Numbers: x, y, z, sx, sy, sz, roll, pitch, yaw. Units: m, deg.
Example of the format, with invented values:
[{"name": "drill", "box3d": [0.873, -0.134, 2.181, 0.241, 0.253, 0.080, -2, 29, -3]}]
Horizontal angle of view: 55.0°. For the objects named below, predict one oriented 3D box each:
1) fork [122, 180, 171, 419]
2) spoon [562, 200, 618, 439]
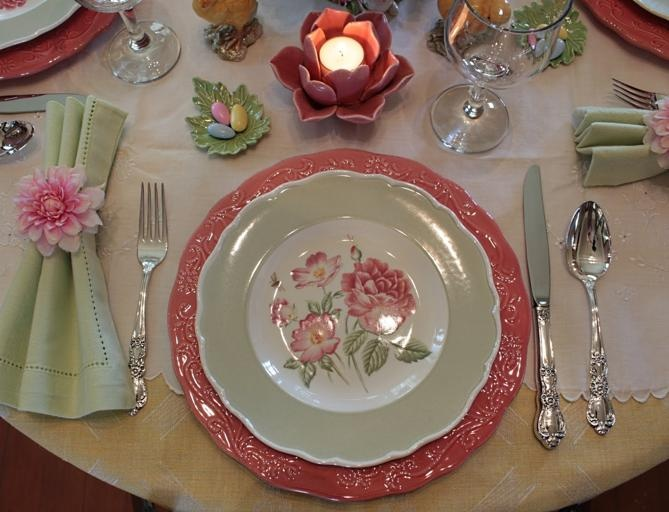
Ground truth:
[{"name": "fork", "box3d": [-0.338, 0.045, 1.166, 0.042, 0.049, 0.486, 0, 76, -3]}, {"name": "spoon", "box3d": [0.449, 0.110, 1.115, 0.064, 0.065, 0.451, 3, 55, 14]}]
